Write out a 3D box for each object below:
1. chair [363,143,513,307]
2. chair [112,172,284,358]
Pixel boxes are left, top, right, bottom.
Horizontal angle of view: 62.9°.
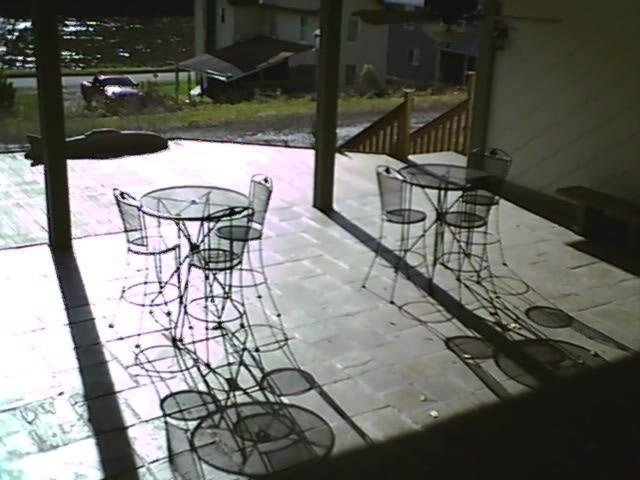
[{"bbox_3d":[1.285,-0.184,6.111,1.846,1.340,1.688,3,30,7],"label":"chair"},{"bbox_3d":[-0.971,0.312,5.195,1.829,1.542,1.777,-5,32,-24],"label":"chair"}]
